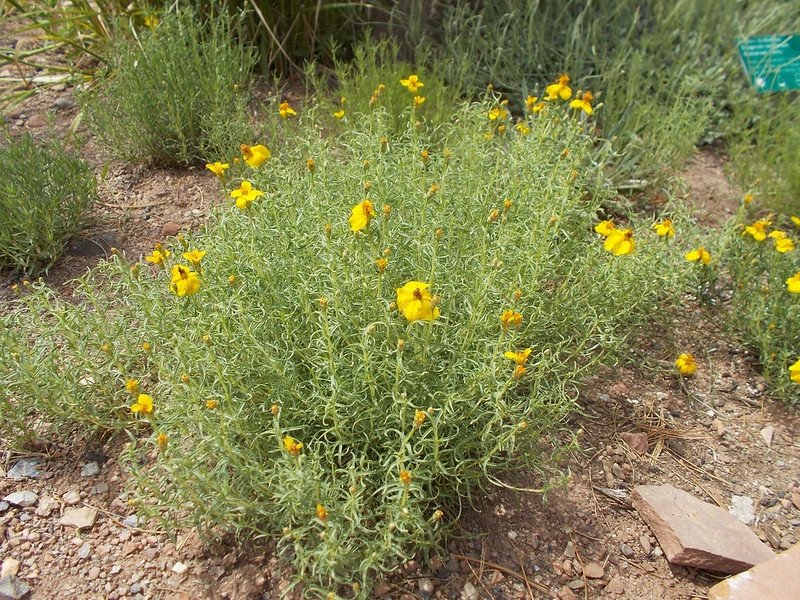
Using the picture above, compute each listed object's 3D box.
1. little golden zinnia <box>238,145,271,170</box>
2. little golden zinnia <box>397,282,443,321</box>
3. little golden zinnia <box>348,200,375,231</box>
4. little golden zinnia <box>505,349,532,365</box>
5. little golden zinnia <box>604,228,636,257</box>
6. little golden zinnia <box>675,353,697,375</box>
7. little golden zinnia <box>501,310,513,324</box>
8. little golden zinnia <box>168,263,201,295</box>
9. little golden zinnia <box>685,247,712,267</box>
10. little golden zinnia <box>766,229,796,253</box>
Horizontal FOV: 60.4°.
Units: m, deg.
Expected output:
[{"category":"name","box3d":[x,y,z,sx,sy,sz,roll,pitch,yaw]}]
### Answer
[{"category":"little golden zinnia","box3d":[-0.724,-0.696,3.370,0.119,0.098,0.134,-13,43,-31]},{"category":"little golden zinnia","box3d":[0.068,-0.035,2.934,0.230,0.258,0.085,-3,48,3]},{"category":"little golden zinnia","box3d":[-0.169,-0.366,3.093,0.112,0.057,0.145,17,73,19]},{"category":"little golden zinnia","box3d":[0.517,0.246,3.006,0.099,0.051,0.103,7,2,31]},{"category":"little golden zinnia","box3d":[1.102,-0.279,3.440,0.133,0.059,0.138,29,87,7]},{"category":"little golden zinnia","box3d":[1.658,0.376,4.006,0.117,0.032,0.129,-12,87,3]},{"category":"little golden zinnia","box3d":[0.475,0.077,3.016,0.060,0.052,0.056,1,0,-34]},{"category":"little golden zinnia","box3d":[-0.966,-0.081,3.045,0.131,0.069,0.131,39,83,0]},{"category":"little golden zinnia","box3d":[1.713,-0.244,3.948,0.116,0.079,0.116,4,11,-26]},{"category":"little golden zinnia","box3d":[2.211,-0.333,3.994,0.142,0.052,0.151,-3,46,-10]}]
